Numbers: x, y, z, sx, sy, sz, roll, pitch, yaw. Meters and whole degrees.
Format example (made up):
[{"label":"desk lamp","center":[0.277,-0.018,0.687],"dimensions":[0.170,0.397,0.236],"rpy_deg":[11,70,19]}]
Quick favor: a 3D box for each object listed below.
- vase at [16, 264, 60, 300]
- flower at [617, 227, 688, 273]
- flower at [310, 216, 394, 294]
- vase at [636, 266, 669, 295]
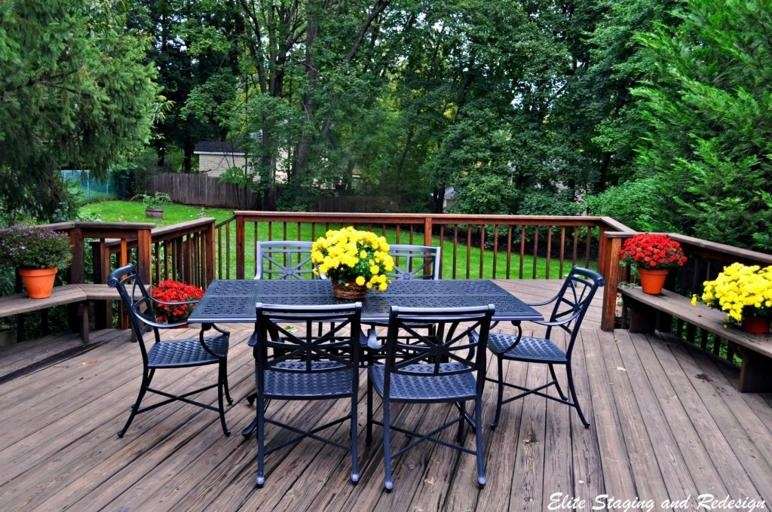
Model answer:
[{"label":"vase","center":[-3.224,0.241,5.192],"dimensions":[0.309,0.235,0.308],"rpy_deg":[-1,2,-4]},{"label":"flower","center":[2.717,-0.044,5.716],"dimensions":[0.613,0.346,0.335],"rpy_deg":[6,12,22]},{"label":"flower","center":[-0.260,0.010,4.124],"dimensions":[0.517,0.430,0.534],"rpy_deg":[2,4,1]},{"label":"vase","center":[2.708,0.241,5.699],"dimensions":[0.277,0.213,0.281],"rpy_deg":[3,2,38]}]
